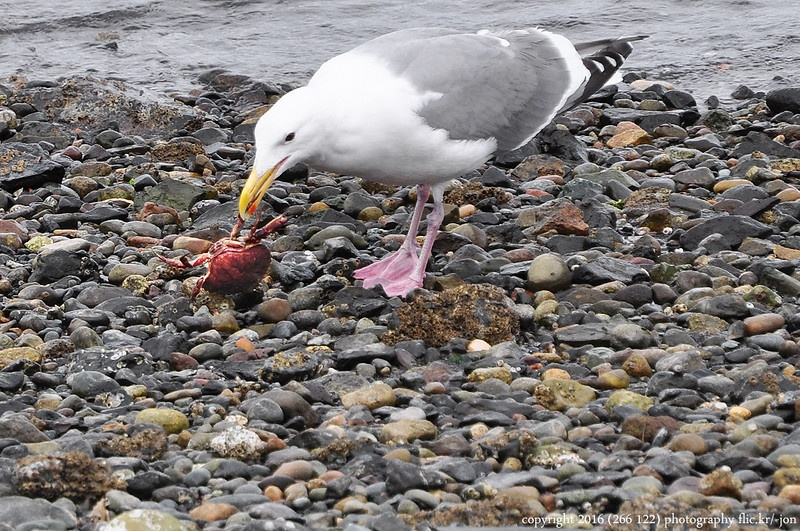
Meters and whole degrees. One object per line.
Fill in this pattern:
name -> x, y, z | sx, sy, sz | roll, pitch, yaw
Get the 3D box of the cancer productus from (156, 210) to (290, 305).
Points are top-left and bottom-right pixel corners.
cancer productus -> -1.561, -0.083, 10.338 | 0.936, 0.748, 0.380 | -20, 29, -31
